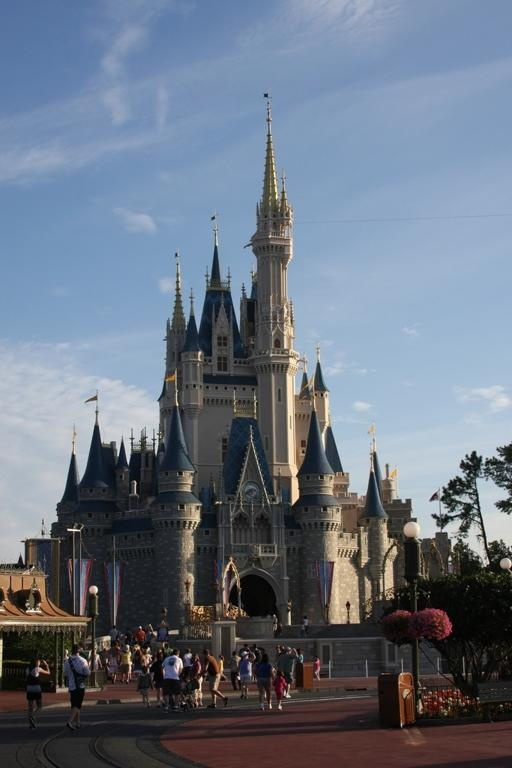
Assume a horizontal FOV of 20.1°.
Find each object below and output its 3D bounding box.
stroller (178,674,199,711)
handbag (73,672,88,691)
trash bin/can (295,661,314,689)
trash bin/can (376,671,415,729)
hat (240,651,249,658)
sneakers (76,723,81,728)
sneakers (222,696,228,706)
[{"bbox_3d":[-1.316,6.012,28.343,0.425,0.754,0.549,1,-21,-5],"label":"stroller"},{"bbox_3d":[-2.849,4.802,23.310,0.162,0.275,0.359,-1,-10,-5],"label":"handbag"},{"bbox_3d":[1.115,6.848,33.868,0.375,0.564,1.082,-1,-10,-1],"label":"trash bin/can"},{"bbox_3d":[2.265,5.155,23.586,0.528,0.854,0.917,-4,-10,16],"label":"trash bin/can"},{"bbox_3d":[-0.258,6.155,32.886,0.131,0.073,0.194,-3,2,12],"label":"hat"},{"bbox_3d":[-2.855,5.485,23.246,0.063,0.087,0.232,0,-10,-11],"label":"sneakers"},{"bbox_3d":[-0.599,6.285,28.610,0.097,0.246,0.080,0,5,-5],"label":"sneakers"}]
